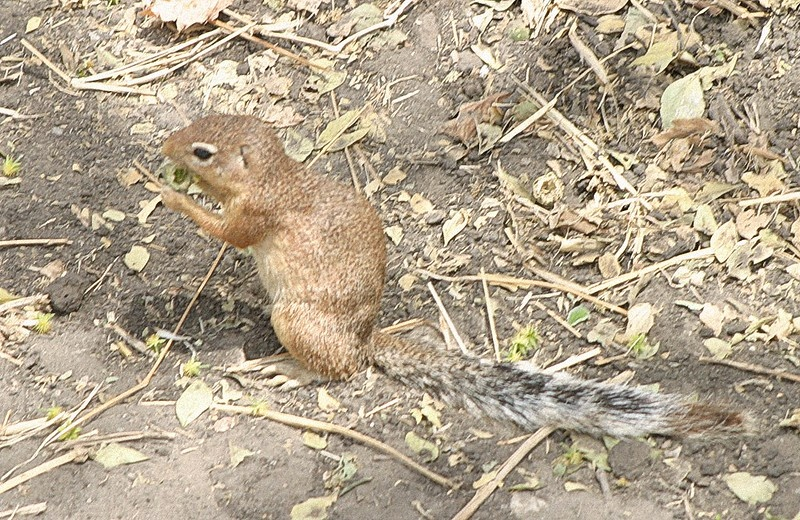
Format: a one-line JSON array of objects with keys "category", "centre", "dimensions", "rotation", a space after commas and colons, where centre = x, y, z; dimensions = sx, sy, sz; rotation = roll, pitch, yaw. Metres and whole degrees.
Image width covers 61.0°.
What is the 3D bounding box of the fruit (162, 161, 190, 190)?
[{"category": "fruit", "centre": [-1.419, -0.553, 4.448], "dimensions": [0.212, 0.045, 0.154], "rotation": [43, 124, 12]}]
